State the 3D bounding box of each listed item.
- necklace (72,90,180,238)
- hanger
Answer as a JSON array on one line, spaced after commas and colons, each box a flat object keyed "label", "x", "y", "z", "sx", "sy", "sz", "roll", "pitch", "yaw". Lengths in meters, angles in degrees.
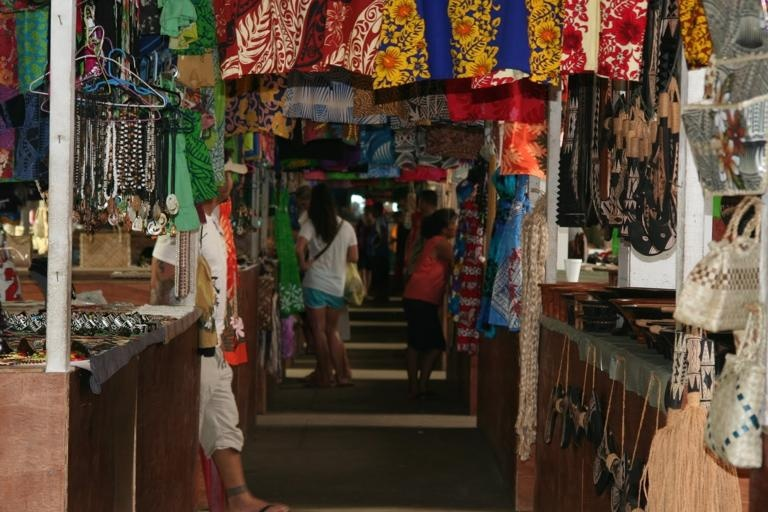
[{"label": "necklace", "x": -1.236, "y": -0.456, "z": 5.133, "sx": 0.539, "sy": 0.606, "sz": 0.048, "roll": 1, "pitch": 5, "yaw": -10}, {"label": "hanger", "x": -1.128, "y": -0.819, "z": 5.122, "sx": 1.046, "sy": 0.604, "sz": 0.329, "roll": -1, "pitch": 4, "yaw": -22}]
